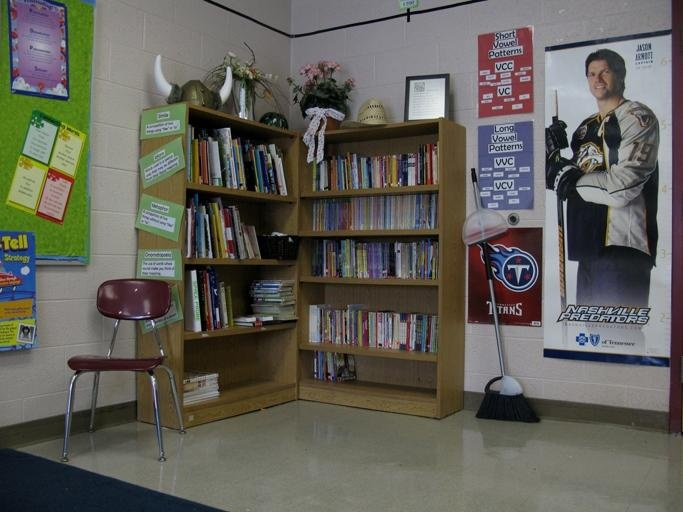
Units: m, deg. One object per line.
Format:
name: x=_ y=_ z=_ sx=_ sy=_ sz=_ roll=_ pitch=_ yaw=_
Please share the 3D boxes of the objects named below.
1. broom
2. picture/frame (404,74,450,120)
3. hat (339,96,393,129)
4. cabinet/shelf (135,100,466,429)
broom: x=1.225 y=0.277 z=4.199 sx=0.508 sy=1.919 sz=0.338 roll=-1 pitch=1 yaw=23
picture/frame: x=0.708 y=-1.265 z=4.441 sx=0.406 sy=0.485 sz=0.046 roll=-2 pitch=-17 yaw=22
hat: x=0.222 y=-1.127 z=4.438 sx=0.356 sy=0.161 sz=0.321 roll=2 pitch=13 yaw=33
cabinet/shelf: x=-0.161 y=0.074 z=4.445 sx=2.379 sy=1.538 sz=0.996 roll=-2 pitch=1 yaw=-9
